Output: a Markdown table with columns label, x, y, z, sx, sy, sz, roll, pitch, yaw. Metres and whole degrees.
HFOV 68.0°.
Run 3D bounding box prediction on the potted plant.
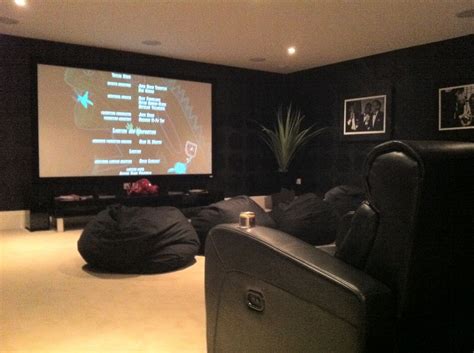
| label | x | y | z | sx | sy | sz | roll | pitch | yaw |
| --- | --- | --- | --- | --- | --- | --- | --- | --- | --- |
| potted plant | 1.002 | -0.547 | 7.361 | 1.546 | 1.605 | 1.623 | -5 | -2 | 26 |

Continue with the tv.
| label | x | y | z | sx | sy | sz | roll | pitch | yaw |
| --- | --- | --- | --- | --- | --- | --- | --- | --- | --- |
| tv | -1.986 | -0.938 | 5.829 | 2.409 | 1.326 | 0.047 | 1 | -3 | -32 |

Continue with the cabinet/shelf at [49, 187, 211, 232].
| label | x | y | z | sx | sy | sz | roll | pitch | yaw |
| --- | --- | --- | --- | --- | --- | --- | --- | --- | --- |
| cabinet/shelf | -1.663 | 0.483 | 5.584 | 2.222 | 0.488 | 0.216 | -4 | 5 | -33 |
